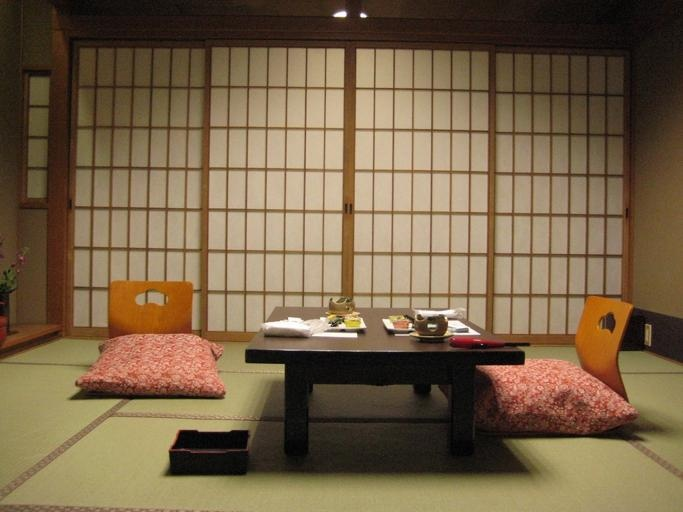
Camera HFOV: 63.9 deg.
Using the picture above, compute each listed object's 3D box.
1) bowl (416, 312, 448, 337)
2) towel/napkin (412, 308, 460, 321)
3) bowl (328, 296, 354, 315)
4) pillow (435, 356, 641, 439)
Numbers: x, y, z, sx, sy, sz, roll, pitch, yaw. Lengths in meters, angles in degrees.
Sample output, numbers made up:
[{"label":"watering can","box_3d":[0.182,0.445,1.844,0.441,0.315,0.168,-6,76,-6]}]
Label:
[{"label":"bowl","box_3d":[0.544,0.422,3.294,0.169,0.125,0.087,1,-94,-4]},{"label":"towel/napkin","box_3d":[0.711,0.410,3.895,0.203,0.184,0.043,0,-90,-5]},{"label":"bowl","box_3d":[0.018,0.339,3.734,0.113,0.149,0.084,6,-82,41]},{"label":"pillow","box_3d":[1.291,0.880,3.497,0.737,0.728,0.202,2,-89,1]}]
